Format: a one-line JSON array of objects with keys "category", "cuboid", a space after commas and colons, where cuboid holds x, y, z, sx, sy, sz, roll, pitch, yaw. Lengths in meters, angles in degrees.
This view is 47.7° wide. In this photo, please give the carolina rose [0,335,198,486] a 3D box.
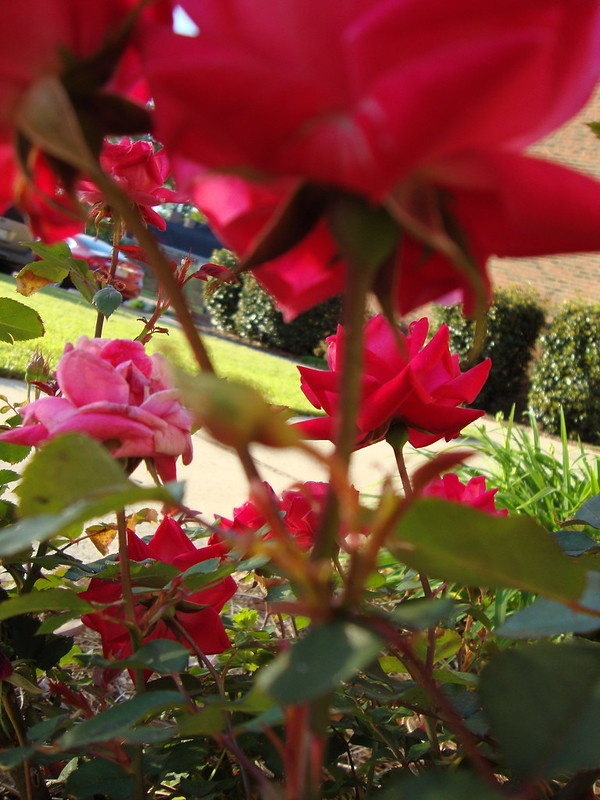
[{"category": "carolina rose", "cuboid": [-0.133, 0.020, 0.466, 0.138, 0.093, 0.128, 6, -8, -30]}]
